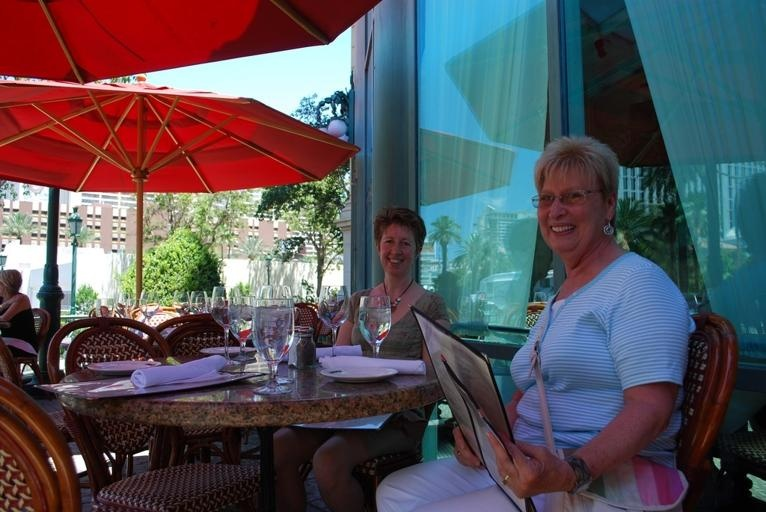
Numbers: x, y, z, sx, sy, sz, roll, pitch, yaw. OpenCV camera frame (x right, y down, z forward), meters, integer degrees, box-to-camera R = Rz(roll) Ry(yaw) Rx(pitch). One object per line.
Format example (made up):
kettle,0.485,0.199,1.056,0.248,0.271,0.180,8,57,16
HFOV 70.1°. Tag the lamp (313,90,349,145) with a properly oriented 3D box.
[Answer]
lamp,-0.772,-2.168,8.330,0.559,0.707,0.267,4,-3,14

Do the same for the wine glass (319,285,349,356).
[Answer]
wine glass,-0.239,0.311,2.699,0.130,0.323,0.252,0,-2,5

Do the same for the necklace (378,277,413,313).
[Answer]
necklace,0.073,0.221,3.082,0.107,0.056,0.203,8,35,6

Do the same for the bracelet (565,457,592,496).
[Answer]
bracelet,0.618,0.698,1.737,0.092,0.115,0.040,1,-1,-23

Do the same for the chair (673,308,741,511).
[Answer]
chair,1.148,0.550,1.932,0.176,0.685,0.251,-1,-1,35
